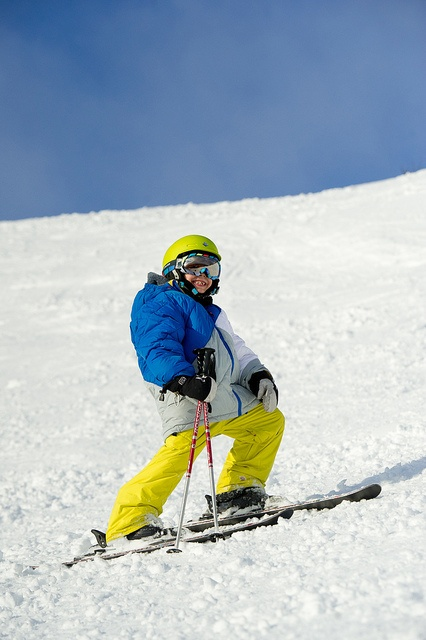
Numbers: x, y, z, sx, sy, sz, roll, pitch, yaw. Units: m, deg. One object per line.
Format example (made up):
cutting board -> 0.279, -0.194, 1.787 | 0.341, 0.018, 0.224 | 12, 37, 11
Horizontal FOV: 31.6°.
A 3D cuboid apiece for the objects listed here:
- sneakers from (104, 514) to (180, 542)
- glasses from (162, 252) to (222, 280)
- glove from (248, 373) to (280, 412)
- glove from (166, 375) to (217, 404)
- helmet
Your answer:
sneakers -> -0.402, 1.159, 4.228 | 0.425, 0.176, 0.123 | 3, -1, -13
glasses -> -0.170, -0.330, 4.858 | 0.189, 0.087, 0.252 | 10, -17, -39
glove -> 0.321, 0.451, 4.748 | 0.107, 0.173, 0.226 | -12, -41, 8
glove -> -0.127, 0.364, 4.103 | 0.190, 0.076, 0.157 | 12, 4, 26
helmet -> -0.161, -0.359, 4.965 | 0.415, 0.438, 0.401 | -5, -9, 18
